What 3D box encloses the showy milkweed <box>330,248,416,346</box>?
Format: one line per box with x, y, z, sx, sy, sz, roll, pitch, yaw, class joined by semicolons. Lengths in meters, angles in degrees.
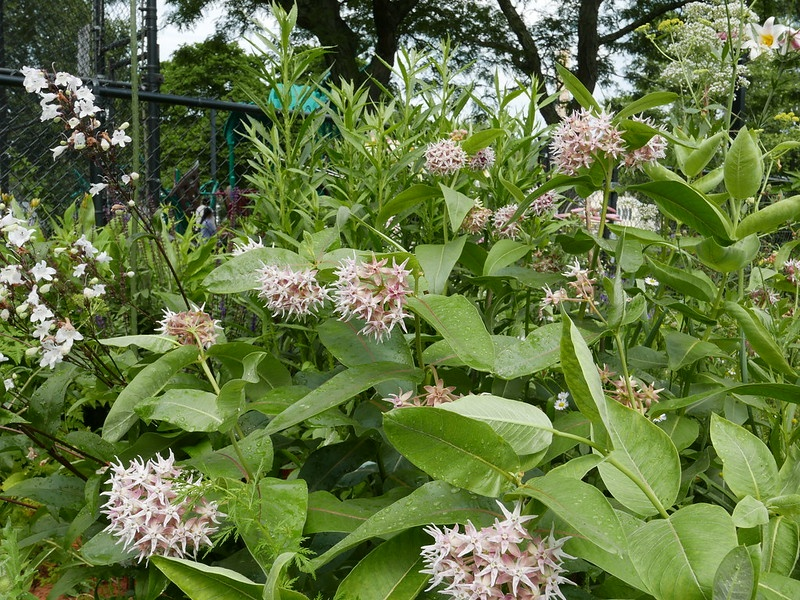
-0.072;0.000;2.502;0.204;0.239;0.165;-5;-20;11;showy milkweed

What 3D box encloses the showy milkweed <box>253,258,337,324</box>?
-0.306;-0.010;2.620;0.158;0.179;0.103;-18;-18;-22;showy milkweed

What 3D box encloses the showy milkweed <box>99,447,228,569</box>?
-0.638;0.573;2.423;0.300;0.338;0.184;20;-34;-9;showy milkweed

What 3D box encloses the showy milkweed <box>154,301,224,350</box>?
-0.627;0.100;2.691;0.148;0.163;0.072;-4;-47;-22;showy milkweed
